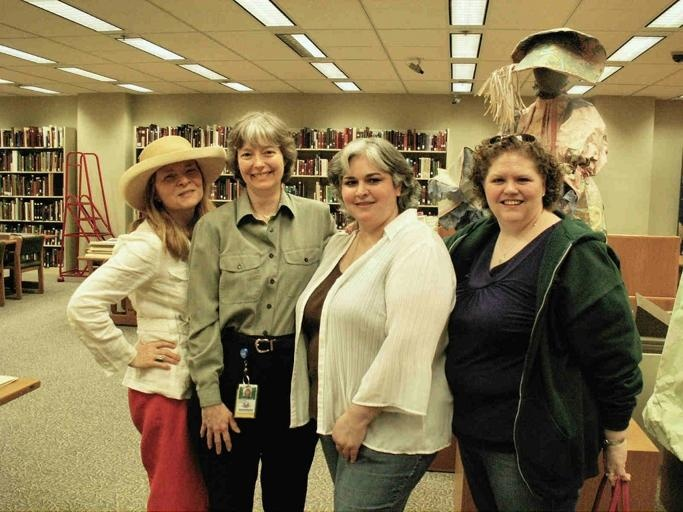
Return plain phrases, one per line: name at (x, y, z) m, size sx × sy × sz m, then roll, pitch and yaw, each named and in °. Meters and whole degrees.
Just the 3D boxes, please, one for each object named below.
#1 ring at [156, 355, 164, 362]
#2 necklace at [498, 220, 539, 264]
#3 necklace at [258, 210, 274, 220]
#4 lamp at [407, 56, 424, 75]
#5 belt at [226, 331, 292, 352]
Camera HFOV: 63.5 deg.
ring at (-0.752, 0.420, 2.288) m, size 0.033 × 0.026 × 0.008 m, roll 2°, pitch 8°, yaw -4°
necklace at (0.653, -0.039, 2.110) m, size 0.058 × 0.144 × 0.149 m, roll 29°, pitch -5°, yaw -29°
necklace at (-0.328, -0.172, 2.395) m, size 0.049 × 0.010 × 0.042 m, roll 2°, pitch 40°, yaw 2°
lamp at (0.965, -2.457, 7.173) m, size 0.180 × 0.055 × 0.177 m, roll 20°, pitch 43°, yaw -15°
belt at (-0.324, 0.358, 2.295) m, size 0.239 × 0.075 × 0.044 m, roll 2°, pitch 8°, yaw -6°
